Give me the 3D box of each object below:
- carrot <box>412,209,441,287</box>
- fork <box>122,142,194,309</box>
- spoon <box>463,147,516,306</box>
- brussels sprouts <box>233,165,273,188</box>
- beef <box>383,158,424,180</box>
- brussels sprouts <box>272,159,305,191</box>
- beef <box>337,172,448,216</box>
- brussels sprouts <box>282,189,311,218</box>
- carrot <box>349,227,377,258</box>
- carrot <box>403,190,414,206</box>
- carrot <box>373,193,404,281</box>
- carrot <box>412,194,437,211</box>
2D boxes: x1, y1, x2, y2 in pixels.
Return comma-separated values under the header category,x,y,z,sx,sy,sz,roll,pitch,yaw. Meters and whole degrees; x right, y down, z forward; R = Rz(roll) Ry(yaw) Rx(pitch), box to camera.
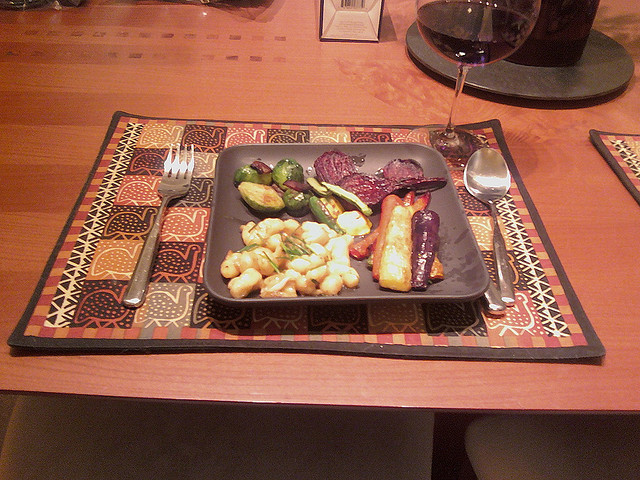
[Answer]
category,x,y,z,sx,sy,sz,roll,pitch,yaw
carrot,0.190,0.017,0.841,0.055,0.049,0.166,8,60,6
fork,-0.309,-0.045,0.904,0.052,0.039,0.341,8,57,-5
spoon,0.350,-0.036,0.957,0.083,0.041,0.352,2,51,5
brussels sprouts,-0.133,-0.125,0.932,0.060,0.032,0.042,-6,78,-19
beef,0.178,-0.146,0.961,0.060,0.019,0.048,-19,54,-16
brussels sprouts,-0.067,-0.131,0.937,0.070,0.052,0.052,-4,93,-39
beef,0.136,-0.139,0.963,0.236,0.083,0.138,-7,29,-17
brussels sprouts,-0.047,-0.071,0.913,0.057,0.050,0.055,-2,34,-7
carrot,0.081,0.011,0.858,0.033,0.022,0.062,27,59,17
carrot,0.179,-0.082,0.927,0.022,0.005,0.038,9,53,17
carrot,0.149,-0.008,0.892,0.045,0.047,0.195,23,59,-12
carrot,0.210,-0.074,0.928,0.048,0.011,0.030,-21,61,-32
